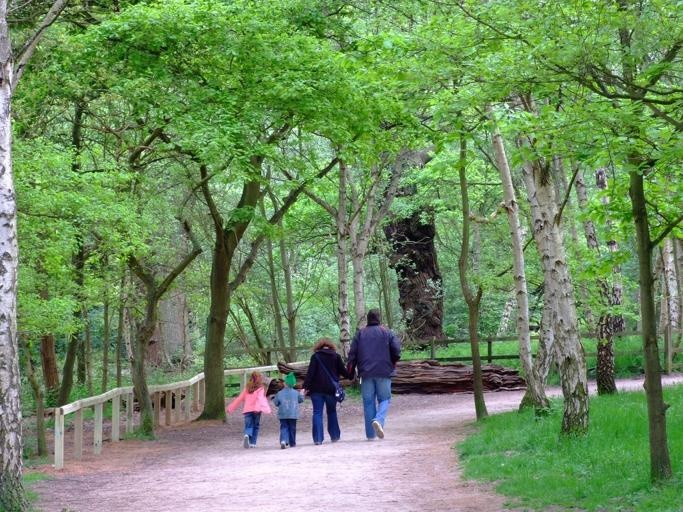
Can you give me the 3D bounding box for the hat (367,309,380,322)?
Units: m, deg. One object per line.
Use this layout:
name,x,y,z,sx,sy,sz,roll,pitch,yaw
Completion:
hat,0.581,1.105,12.884,0.193,0.224,0.220,-1,-7,1

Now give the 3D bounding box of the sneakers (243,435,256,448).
sneakers,-1.728,3.512,13.672,0.227,0.243,0.355,-2,-9,-8

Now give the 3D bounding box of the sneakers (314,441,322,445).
sneakers,-0.420,3.396,13.085,0.167,0.055,0.135,-5,-10,11

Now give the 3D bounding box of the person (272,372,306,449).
person,-0.942,2.820,13.162,0.537,1.326,0.927,-3,-8,-4

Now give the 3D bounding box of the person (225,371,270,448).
person,-1.765,2.986,14.068,0.731,1.414,1.231,-2,-8,-8

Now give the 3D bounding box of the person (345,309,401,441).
person,0.596,2.128,12.916,0.939,2.324,0.659,-3,-7,3
